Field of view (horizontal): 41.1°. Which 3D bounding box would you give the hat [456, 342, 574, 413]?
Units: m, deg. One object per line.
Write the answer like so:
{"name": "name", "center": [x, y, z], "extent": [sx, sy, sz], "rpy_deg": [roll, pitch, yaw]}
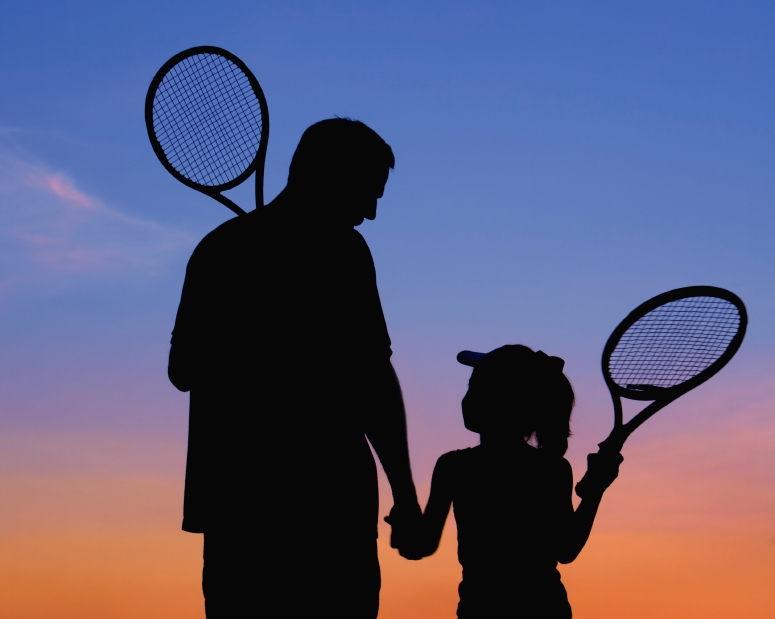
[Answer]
{"name": "hat", "center": [0.545, 0.236, 4.339], "extent": [0.543, 0.211, 0.364], "rpy_deg": [20, 9, 27]}
